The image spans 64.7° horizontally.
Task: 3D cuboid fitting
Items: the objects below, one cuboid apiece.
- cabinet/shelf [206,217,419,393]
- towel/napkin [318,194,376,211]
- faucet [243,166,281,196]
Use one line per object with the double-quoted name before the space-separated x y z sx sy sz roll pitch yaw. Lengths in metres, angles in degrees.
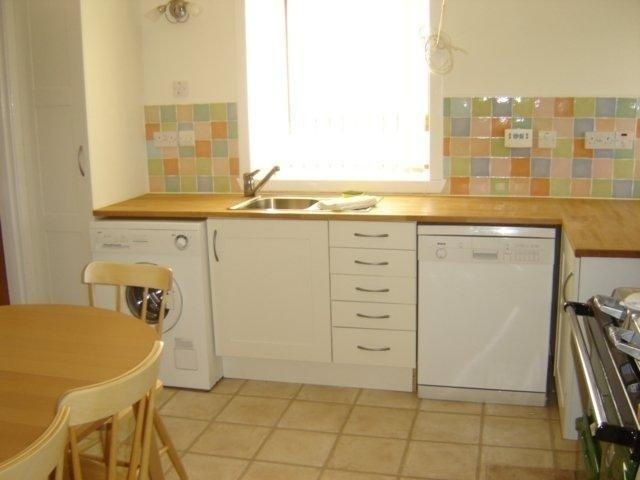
"cabinet/shelf" -0.012 0.347 3.028 0.981 0.869 0.385 1 8 11
"towel/napkin" 0.194 -0.231 3.092 0.265 0.061 0.389 5 14 35
"faucet" -0.390 -0.406 3.490 0.279 0.194 0.074 -4 3 20
